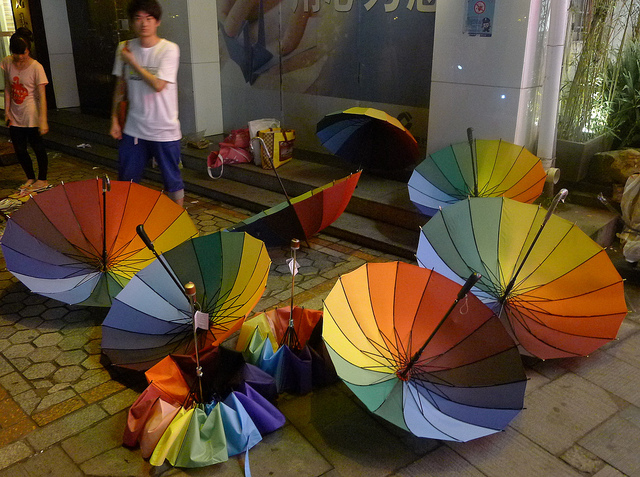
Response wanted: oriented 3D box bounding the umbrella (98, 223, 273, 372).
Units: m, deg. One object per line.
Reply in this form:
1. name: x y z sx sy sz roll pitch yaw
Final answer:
1. umbrella: -0.866 0.443 3.466 1.020 0.427 1.088 -8 53 23

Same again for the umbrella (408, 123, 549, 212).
1. umbrella: 1.477 -0.594 4.608 0.922 0.652 1.014 16 67 28

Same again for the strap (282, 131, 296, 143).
1. strap: -0.427 -1.365 6.508 0.143 0.112 0.210 -5 35 -2

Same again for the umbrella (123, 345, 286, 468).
1. umbrella: -0.717 1.016 2.906 0.718 0.337 0.757 8 35 23

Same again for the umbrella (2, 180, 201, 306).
1. umbrella: -1.885 -0.015 4.333 1.085 1.201 1.151 4 -16 -9

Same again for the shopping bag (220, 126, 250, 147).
1. shopping bag: -1.142 -1.405 6.749 0.467 0.278 0.416 -6 11 -24

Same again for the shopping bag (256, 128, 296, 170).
1. shopping bag: -0.607 -1.269 6.471 0.484 0.623 0.382 -18 34 -32

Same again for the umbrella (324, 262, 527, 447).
1. umbrella: 0.660 0.718 3.213 1.074 0.622 1.135 33 40 6

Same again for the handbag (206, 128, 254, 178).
1. handbag: -1.257 -1.185 6.706 0.731 0.330 0.544 -27 23 -16

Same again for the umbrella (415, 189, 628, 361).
1. umbrella: 1.509 0.282 3.811 1.294 0.640 1.332 34 36 -1

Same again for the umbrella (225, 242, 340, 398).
1. umbrella: -0.203 0.499 3.283 0.619 0.776 0.645 8 26 13

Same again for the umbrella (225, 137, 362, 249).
1. umbrella: -0.231 -0.328 4.983 1.042 1.108 1.200 4 24 -2

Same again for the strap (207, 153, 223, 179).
1. strap: -1.441 -0.987 6.601 0.247 0.301 0.069 9 4 32
